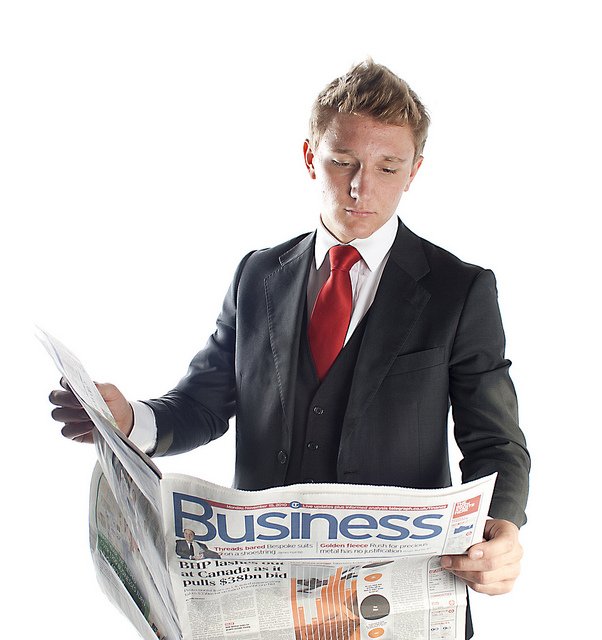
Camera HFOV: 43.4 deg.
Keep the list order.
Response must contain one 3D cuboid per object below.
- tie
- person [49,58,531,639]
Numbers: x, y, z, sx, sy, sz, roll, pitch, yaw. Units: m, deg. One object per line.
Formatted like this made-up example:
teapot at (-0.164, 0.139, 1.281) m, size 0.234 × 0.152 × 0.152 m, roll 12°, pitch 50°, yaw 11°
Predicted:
tie at (0.095, -0.029, 2.125) m, size 0.102 × 0.441 × 0.077 m, roll 7°, pitch -22°, yaw 21°
person at (0.088, 0.051, 2.150) m, size 0.994 × 1.398 × 0.457 m, roll -12°, pitch -16°, yaw 31°
